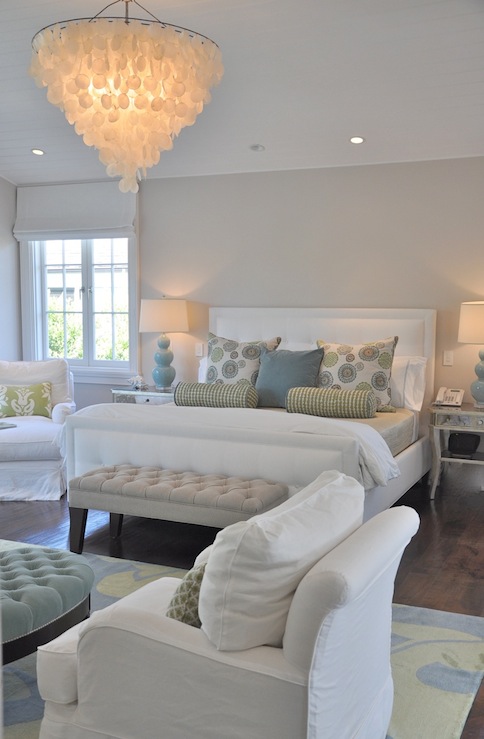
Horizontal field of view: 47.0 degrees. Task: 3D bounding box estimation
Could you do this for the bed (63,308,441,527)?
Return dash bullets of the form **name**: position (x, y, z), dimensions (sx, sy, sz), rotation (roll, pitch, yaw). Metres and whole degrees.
- **bed**: position (0.412, 0.301, 3.737), dimensions (1.778, 1.090, 1.803), rotation (2, 5, 24)
